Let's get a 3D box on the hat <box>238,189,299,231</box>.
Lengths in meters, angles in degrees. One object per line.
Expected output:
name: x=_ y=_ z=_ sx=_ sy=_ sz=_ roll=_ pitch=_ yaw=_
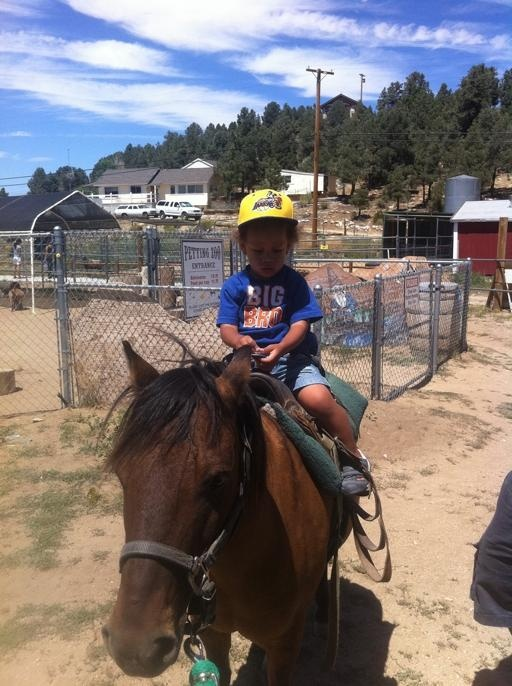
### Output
hat: x=0.046 y=-0.558 z=2.415 sx=0.247 sy=0.171 sz=0.251 roll=1 pitch=11 yaw=-2

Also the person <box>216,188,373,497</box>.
person: x=0.045 y=-0.017 z=2.473 sx=0.781 sy=1.235 sz=0.707 roll=-7 pitch=11 yaw=-11

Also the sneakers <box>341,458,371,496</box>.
sneakers: x=0.452 y=0.619 z=2.628 sx=0.097 sy=0.118 sz=0.277 roll=-2 pitch=-14 yaw=10

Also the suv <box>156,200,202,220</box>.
suv: x=-7.055 y=-12.040 z=53.035 sx=4.478 sy=1.687 sz=1.642 roll=8 pitch=13 yaw=29

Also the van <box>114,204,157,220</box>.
van: x=-11.320 y=-12.027 z=55.034 sx=4.260 sy=1.411 sz=1.906 roll=5 pitch=32 yaw=11

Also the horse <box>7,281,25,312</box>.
horse: x=-6.200 y=-1.189 z=15.063 sx=0.329 sy=0.707 sz=2.242 roll=-3 pitch=12 yaw=-22
